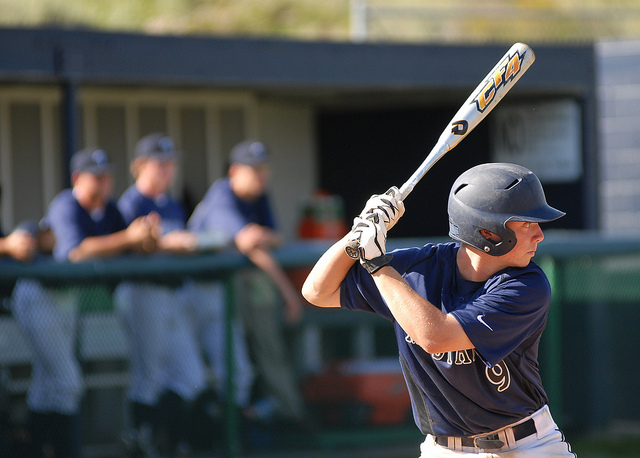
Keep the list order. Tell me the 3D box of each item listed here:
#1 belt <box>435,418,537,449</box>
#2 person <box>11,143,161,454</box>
[{"bbox_3d":[0.900,1.108,8.171,0.550,0.163,0.049,0,4,7],"label":"belt"},{"bbox_3d":[-1.504,0.393,9.018,0.612,1.741,0.968,3,5,37],"label":"person"}]
